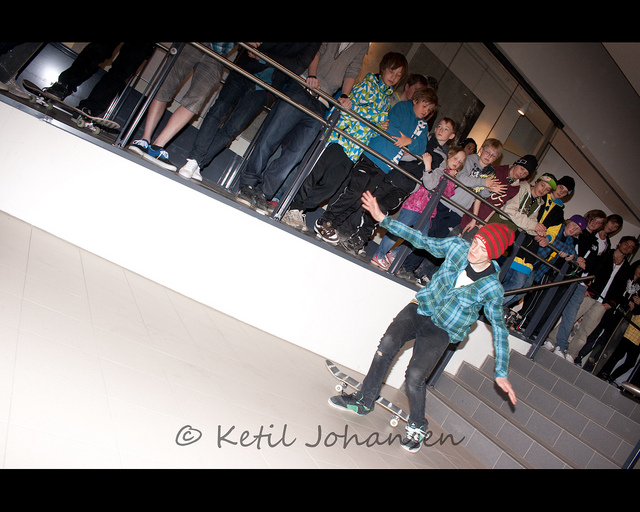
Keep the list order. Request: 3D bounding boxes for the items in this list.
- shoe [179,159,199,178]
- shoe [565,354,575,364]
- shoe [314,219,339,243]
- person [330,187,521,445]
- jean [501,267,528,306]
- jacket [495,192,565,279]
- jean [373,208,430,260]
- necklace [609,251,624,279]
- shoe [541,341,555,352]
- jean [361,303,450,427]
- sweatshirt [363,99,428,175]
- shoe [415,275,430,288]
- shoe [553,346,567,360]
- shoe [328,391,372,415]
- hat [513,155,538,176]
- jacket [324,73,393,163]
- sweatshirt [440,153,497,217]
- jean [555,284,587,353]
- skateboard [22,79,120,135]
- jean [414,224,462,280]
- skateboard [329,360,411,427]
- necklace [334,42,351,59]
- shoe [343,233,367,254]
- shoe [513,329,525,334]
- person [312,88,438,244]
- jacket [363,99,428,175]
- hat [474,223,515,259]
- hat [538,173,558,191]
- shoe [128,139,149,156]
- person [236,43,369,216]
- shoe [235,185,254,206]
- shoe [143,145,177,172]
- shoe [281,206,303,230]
[{"bbox_3d":[-1.025,-0.689,3.154,0.108,0.111,0.172,25,9,-19],"label":"shoe"},{"bbox_3d":[3.060,1.237,4.935,0.113,0.051,0.559,33,10,33],"label":"shoe"},{"bbox_3d":[0.063,-0.212,3.571,0.257,0.118,0.105,36,42,22],"label":"shoe"},{"bbox_3d":[0.809,0.505,3.304,1.502,1.626,0.663,45,28,20],"label":"person"},{"bbox_3d":[2.265,0.288,4.700,0.223,0.458,0.141,32,9,24],"label":"jean"},{"bbox_3d":[2.287,-0.255,4.405,0.602,1.009,0.257,42,-16,-33],"label":"jacket"},{"bbox_3d":[0.812,-0.183,3.997,0.337,0.543,0.451,33,10,28],"label":"jean"},{"bbox_3d":[4.209,0.122,5.719,0.018,0.383,0.119,13,-3,-1],"label":"necklace"},{"bbox_3d":[2.822,1.097,4.964,0.143,0.049,0.137,0,49,-34],"label":"shoe"},{"bbox_3d":[0.580,0.712,2.753,0.494,0.267,1.267,29,30,11],"label":"jean"},{"bbox_3d":[0.722,-1.061,3.765,0.557,0.707,0.192,30,-4,-16],"label":"sweatshirt"},{"bbox_3d":[1.074,0.246,4.210,0.082,0.100,0.248,13,21,42],"label":"shoe"},{"bbox_3d":[2.866,1.146,4.819,0.186,0.077,0.061,32,4,-30],"label":"shoe"},{"bbox_3d":[0.207,0.971,2.770,0.352,0.152,0.118,16,20,-24],"label":"shoe"},{"bbox_3d":[2.294,-1.017,4.478,0.173,0.202,0.232,41,0,-14],"label":"hat"},{"bbox_3d":[0.510,-1.267,3.734,0.418,0.732,0.373,19,-3,0],"label":"jacket"},{"bbox_3d":[1.527,-0.763,4.464,0.569,0.728,0.220,33,-7,-14],"label":"sweatshirt"},{"bbox_3d":[3.193,0.686,5.278,0.351,0.323,1.338,-13,10,38],"label":"jean"},{"bbox_3d":[-2.001,-1.151,3.160,0.673,0.187,0.494,25,9,-17],"label":"skateboard"},{"bbox_3d":[1.082,-0.031,4.065,0.145,0.599,0.590,26,-18,-8],"label":"jean"},{"bbox_3d":[0.349,1.011,2.990,0.808,0.135,0.192,33,19,9],"label":"skateboard"},{"bbox_3d":[0.188,-1.787,3.524,0.078,0.139,0.093,27,9,-10],"label":"necklace"},{"bbox_3d":[0.329,-0.125,3.763,0.127,0.206,0.072,53,-22,-5],"label":"shoe"},{"bbox_3d":[2.354,0.883,4.773,0.091,0.024,0.093,0,13,-10],"label":"shoe"},{"bbox_3d":[0.476,-0.826,3.596,0.572,1.675,0.532,46,-8,-34],"label":"person"},{"bbox_3d":[0.740,-1.085,3.751,0.557,0.707,0.193,29,-4,-17],"label":"jacket"},{"bbox_3d":[1.134,-0.095,2.631,0.262,0.191,0.186,-12,47,-28],"label":"hat"},{"bbox_3d":[2.621,-0.874,4.684,0.164,0.077,0.232,27,23,-7],"label":"hat"},{"bbox_3d":[-1.356,-0.824,3.036,0.121,0.086,0.138,26,9,-13],"label":"shoe"},{"bbox_3d":[-0.127,-1.150,3.423,0.494,1.350,0.636,29,9,5],"label":"person"},{"bbox_3d":[-0.604,-0.500,3.262,0.098,0.096,0.209,27,4,-10],"label":"shoe"},{"bbox_3d":[-1.204,-0.747,3.073,0.254,0.122,0.182,23,10,-27],"label":"shoe"},{"bbox_3d":[-0.251,-0.336,3.479,0.269,0.114,0.093,29,-2,36],"label":"shoe"}]
